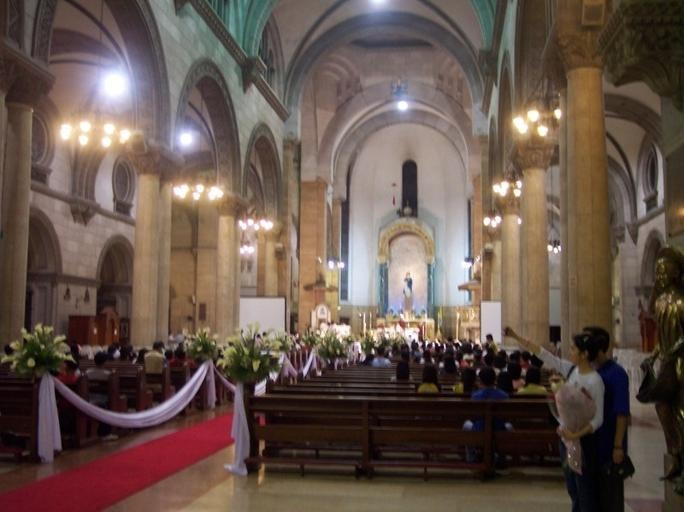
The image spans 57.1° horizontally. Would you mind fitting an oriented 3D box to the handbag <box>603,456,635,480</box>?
[{"bbox_3d":[2.904,2.203,6.603,0.333,0.254,0.091,0,-9,-10],"label":"handbag"}]
